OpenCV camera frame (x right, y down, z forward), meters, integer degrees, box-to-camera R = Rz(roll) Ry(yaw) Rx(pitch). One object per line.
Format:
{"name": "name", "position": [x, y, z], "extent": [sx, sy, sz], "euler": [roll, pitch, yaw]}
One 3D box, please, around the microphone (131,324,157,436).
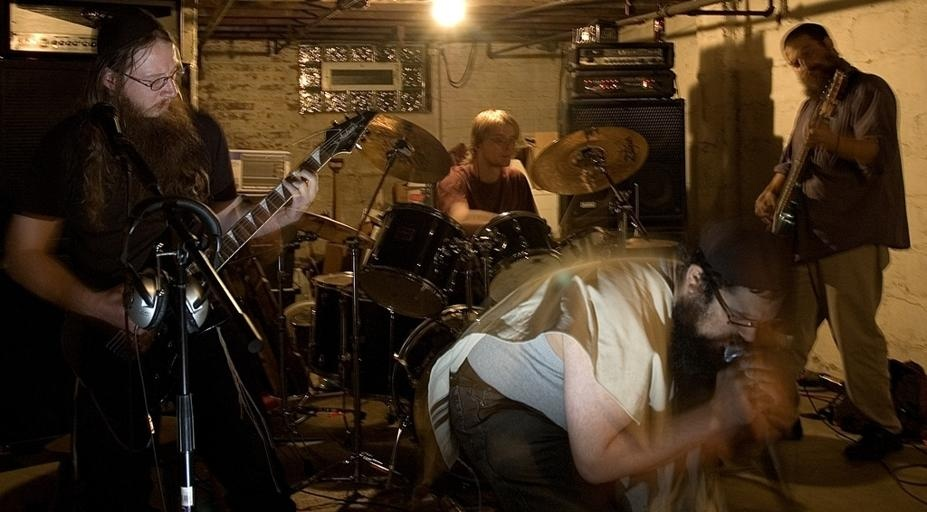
{"name": "microphone", "position": [-1.534, 0.569, 3.484], "extent": [0.072, 0.581, 0.091], "euler": [-12, -12, 7]}

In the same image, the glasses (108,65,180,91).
{"name": "glasses", "position": [-1.604, -0.915, 3.671], "extent": [0.218, 0.059, 0.174], "euler": [23, 32, 19]}

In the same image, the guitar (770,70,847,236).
{"name": "guitar", "position": [2.385, -0.687, 5.117], "extent": [0.504, 1.161, 0.171], "euler": [-14, 39, -29]}

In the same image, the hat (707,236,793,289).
{"name": "hat", "position": [1.251, 0.028, 3.235], "extent": [0.465, 0.104, 0.309], "euler": [7, -5, 11]}

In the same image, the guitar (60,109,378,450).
{"name": "guitar", "position": [-1.220, 0.103, 3.637], "extent": [1.086, 1.636, 1.289], "euler": [4, 9, 11]}

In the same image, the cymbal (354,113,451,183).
{"name": "cymbal", "position": [-0.417, -0.769, 5.251], "extent": [0.610, 0.571, 0.126], "euler": [28, 44, -15]}

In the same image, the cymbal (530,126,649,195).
{"name": "cymbal", "position": [0.963, -0.737, 5.637], "extent": [0.934, 0.521, 0.525], "euler": [0, 9, -11]}

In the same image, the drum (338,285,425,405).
{"name": "drum", "position": [-0.657, 0.665, 5.319], "extent": [0.848, 0.742, 0.785], "euler": [2, -2, -32]}

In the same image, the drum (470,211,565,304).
{"name": "drum", "position": [0.298, -0.016, 5.176], "extent": [0.713, 0.613, 0.599], "euler": [3, 37, -19]}

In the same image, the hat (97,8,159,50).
{"name": "hat", "position": [-1.718, -1.148, 3.692], "extent": [0.295, 0.191, 0.306], "euler": [4, 15, 41]}
